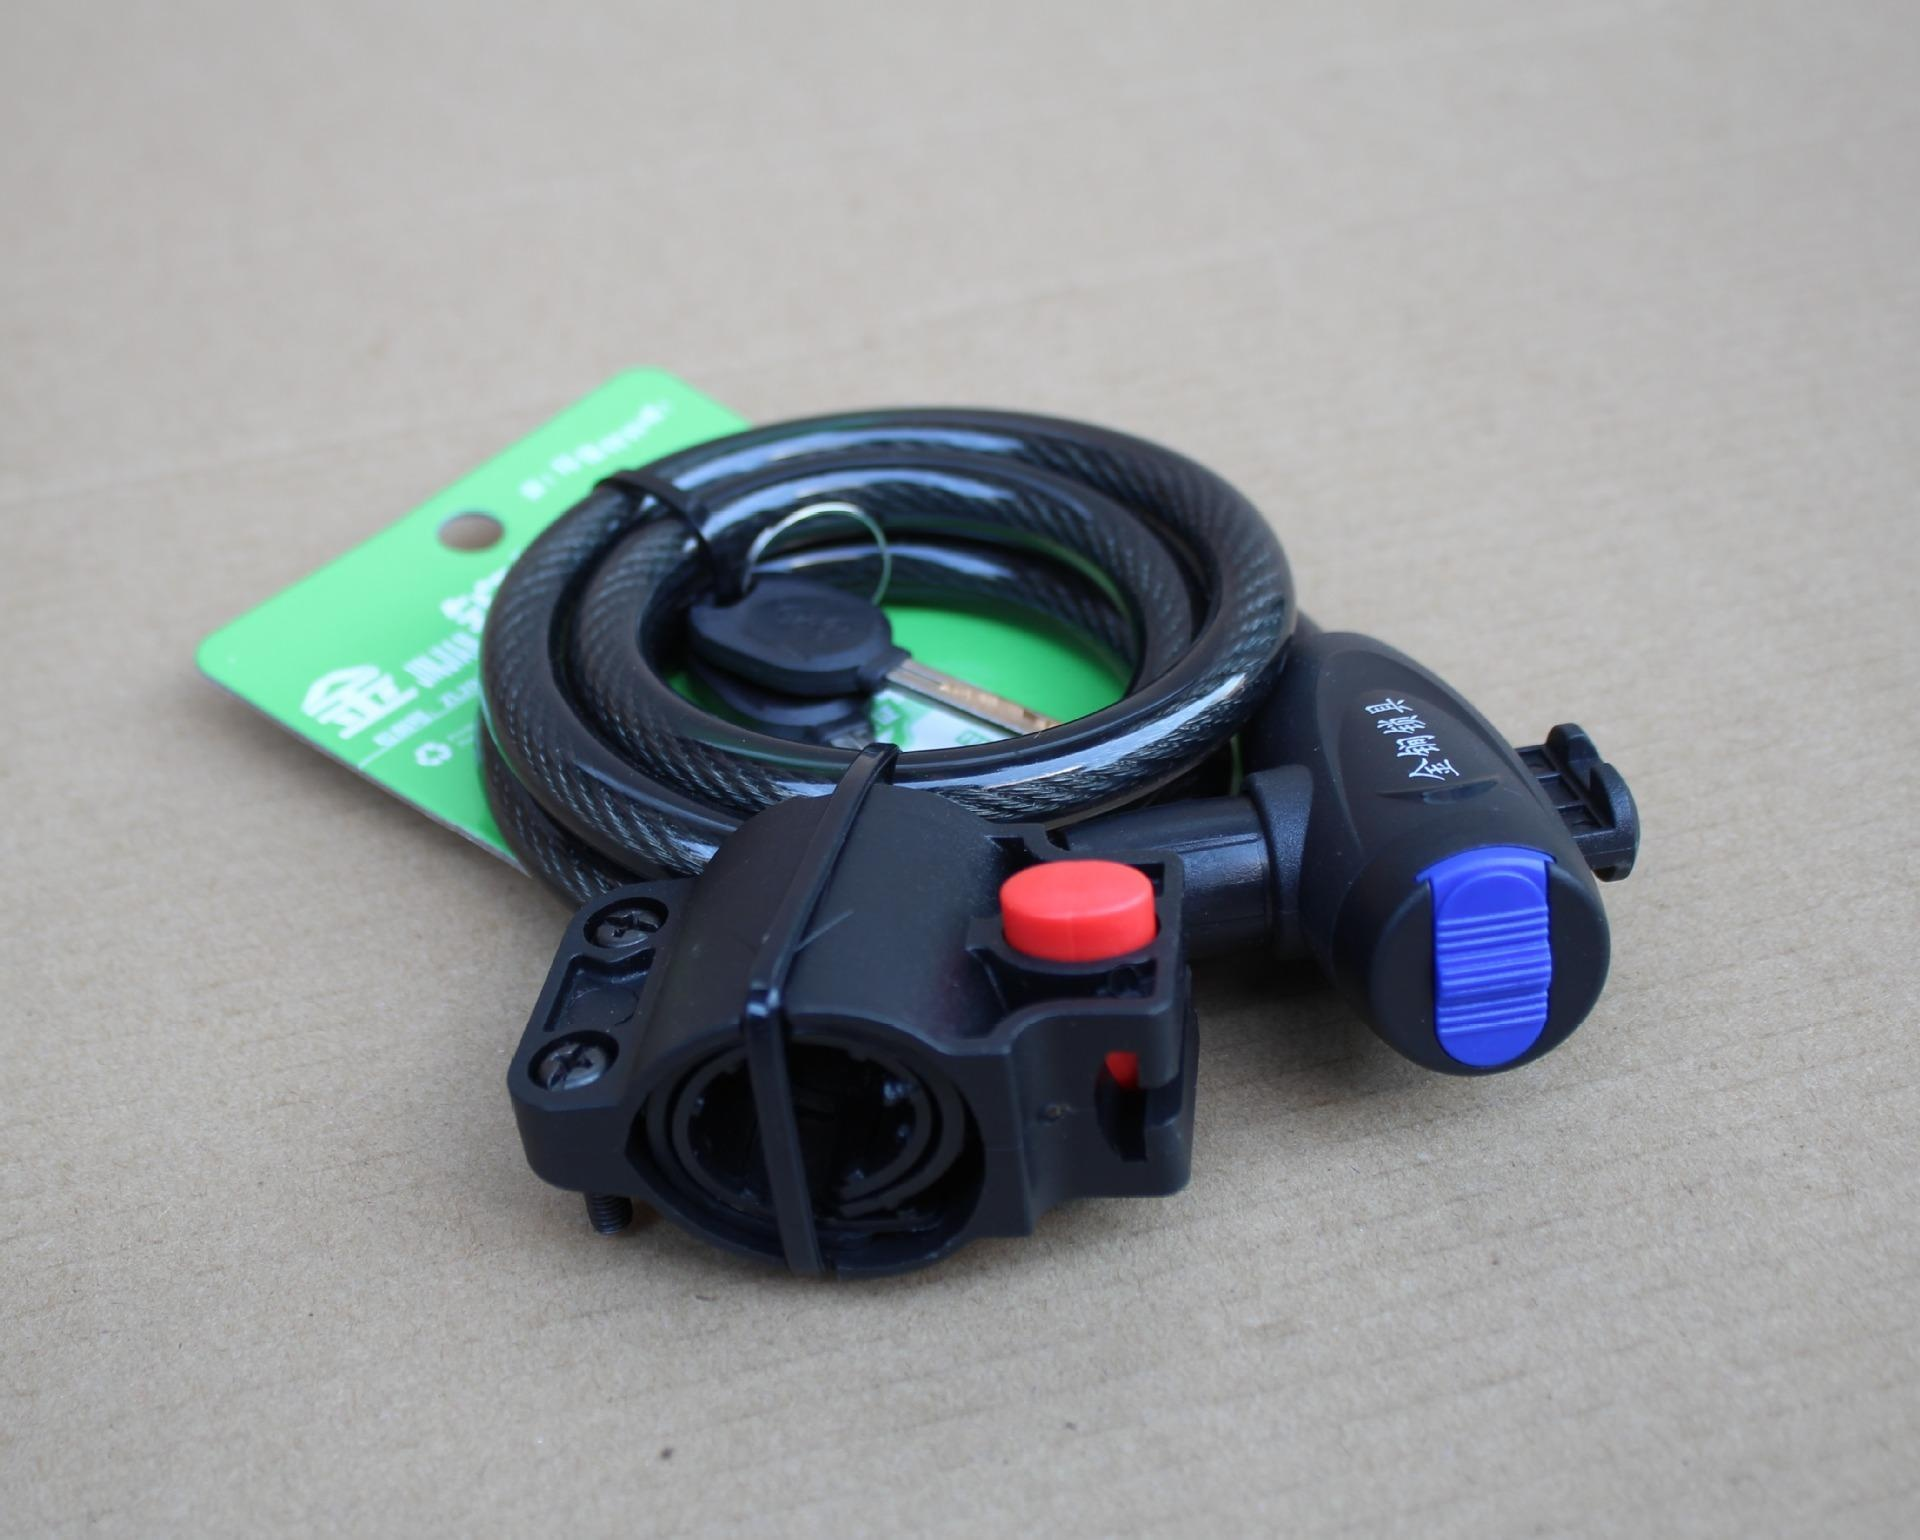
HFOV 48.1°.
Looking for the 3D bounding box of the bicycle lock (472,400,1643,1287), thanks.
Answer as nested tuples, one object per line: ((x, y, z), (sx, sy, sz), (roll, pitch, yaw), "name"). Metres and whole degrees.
((0.039, -0.035, 1.479), (0.734, 0.308, 0.717), (-12, 56, -10), "bicycle lock")
